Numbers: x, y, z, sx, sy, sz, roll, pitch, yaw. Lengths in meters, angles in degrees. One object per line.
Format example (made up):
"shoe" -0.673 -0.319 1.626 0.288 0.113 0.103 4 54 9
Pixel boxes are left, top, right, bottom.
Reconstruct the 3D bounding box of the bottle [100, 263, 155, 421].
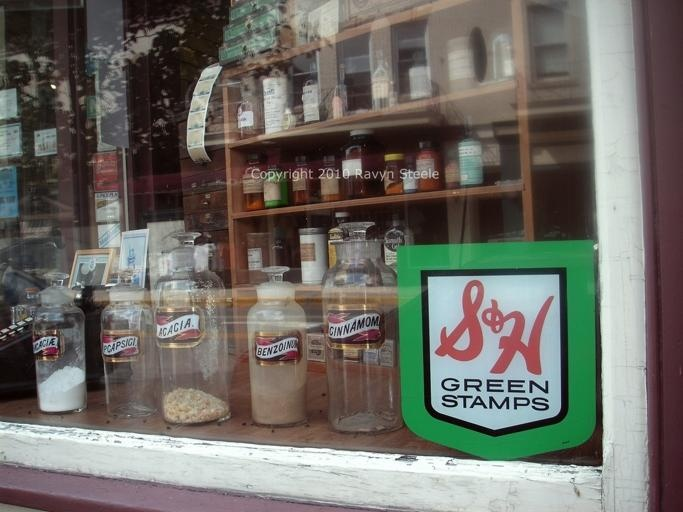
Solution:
"bottle" -0.503 0.213 1.476 0.124 0.318 0.190 -6 2 -17

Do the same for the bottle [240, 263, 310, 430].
"bottle" -0.134 0.202 1.323 0.135 0.276 0.078 -5 2 -8

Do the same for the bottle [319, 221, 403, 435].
"bottle" 0.038 0.156 1.292 0.161 0.333 0.159 -5 2 0

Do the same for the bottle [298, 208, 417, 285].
"bottle" 0.044 -0.020 1.440 0.246 0.135 0.077 -1 -5 21

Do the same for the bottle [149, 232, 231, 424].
"bottle" -0.344 0.149 1.433 0.165 0.386 0.257 -5 2 -10

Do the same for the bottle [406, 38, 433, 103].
"bottle" 0.189 -0.440 1.512 0.056 0.104 0.026 -5 2 6

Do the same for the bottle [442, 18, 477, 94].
"bottle" 0.280 -0.465 1.479 0.069 0.124 0.065 -5 2 0

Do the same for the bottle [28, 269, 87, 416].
"bottle" -0.671 0.218 1.494 0.120 0.324 0.127 -5 2 0
